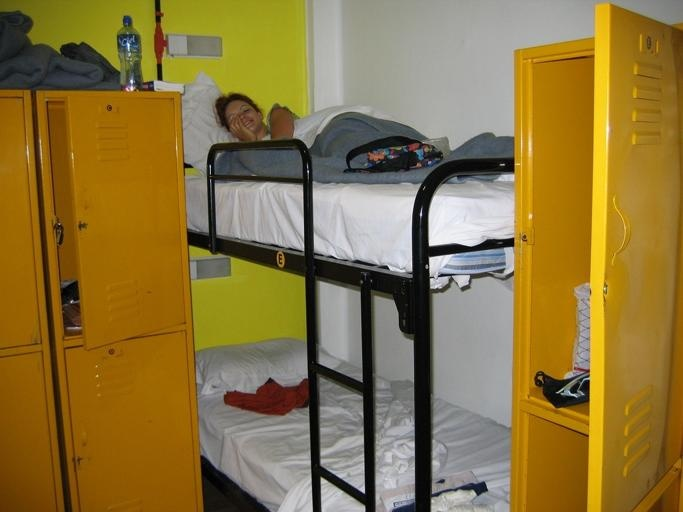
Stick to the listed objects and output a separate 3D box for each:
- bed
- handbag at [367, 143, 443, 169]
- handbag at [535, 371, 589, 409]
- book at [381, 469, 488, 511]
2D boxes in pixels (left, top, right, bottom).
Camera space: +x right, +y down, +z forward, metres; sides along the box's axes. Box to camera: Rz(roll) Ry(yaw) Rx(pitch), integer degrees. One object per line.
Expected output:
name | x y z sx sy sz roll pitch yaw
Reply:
bed | 0.034 0.383 3.066 0.698 1.529 1.853 -5 9 -32
handbag | 0.276 -0.445 2.754 0.159 0.065 0.200 -13 16 -36
handbag | 0.810 0.476 2.211 0.131 0.051 0.123 -12 32 -5
book | 0.422 1.070 2.807 0.373 0.091 0.211 -6 7 -31
